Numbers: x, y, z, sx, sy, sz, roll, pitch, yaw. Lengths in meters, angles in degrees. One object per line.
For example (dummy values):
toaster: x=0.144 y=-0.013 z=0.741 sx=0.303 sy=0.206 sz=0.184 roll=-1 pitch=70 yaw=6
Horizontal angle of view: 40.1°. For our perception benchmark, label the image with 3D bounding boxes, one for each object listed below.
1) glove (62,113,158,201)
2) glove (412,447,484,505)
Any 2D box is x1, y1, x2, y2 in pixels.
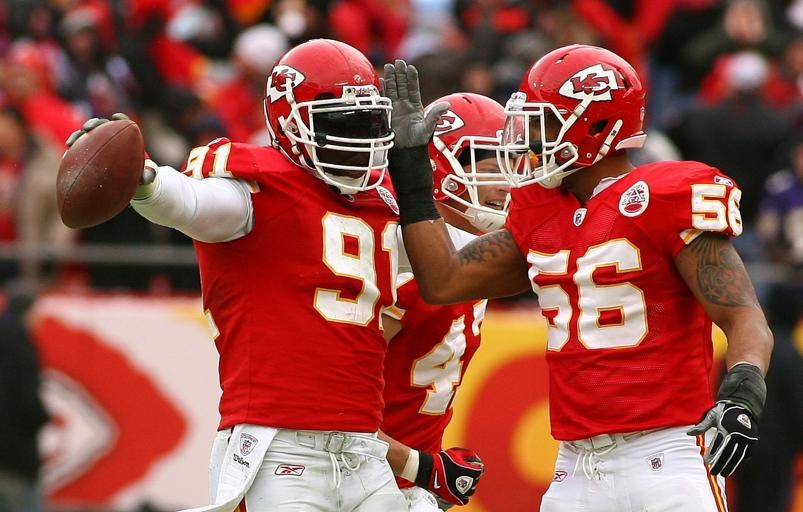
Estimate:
glove: x=-1.417 y=-0.550 z=5.545 sx=0.290 sy=0.461 sz=0.391 roll=23 pitch=13 yaw=-6
glove: x=0.266 y=1.269 z=6.302 sx=0.419 sy=0.353 sz=0.149 roll=-8 pitch=17 yaw=-22
